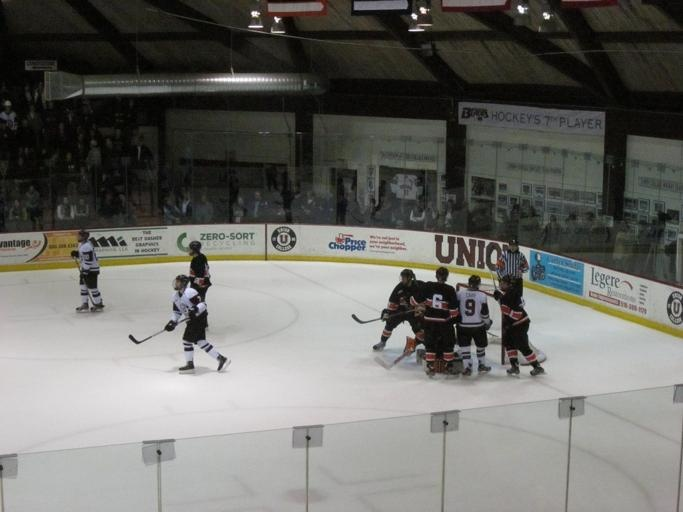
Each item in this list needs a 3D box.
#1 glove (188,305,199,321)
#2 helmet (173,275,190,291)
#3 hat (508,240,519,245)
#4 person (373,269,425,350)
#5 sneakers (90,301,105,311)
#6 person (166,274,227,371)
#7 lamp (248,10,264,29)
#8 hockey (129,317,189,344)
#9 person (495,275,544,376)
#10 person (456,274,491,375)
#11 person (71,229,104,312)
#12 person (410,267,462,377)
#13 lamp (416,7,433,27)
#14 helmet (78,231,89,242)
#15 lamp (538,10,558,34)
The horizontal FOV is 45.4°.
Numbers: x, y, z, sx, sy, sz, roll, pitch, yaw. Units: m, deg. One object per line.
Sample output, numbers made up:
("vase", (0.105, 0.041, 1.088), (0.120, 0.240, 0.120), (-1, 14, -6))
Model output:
("glove", (-2.562, 0.964, 14.134), (0.141, 0.229, 0.039), (-3, 14, -11))
("helmet", (-2.785, 0.452, 14.360), (0.310, 0.326, 0.253), (9, -5, -39))
("hat", (3.417, -0.278, 16.484), (0.136, 0.135, 0.141), (1, 6, 13))
("person", (1.079, 1.093, 16.055), (1.141, 1.817, 0.862), (5, 11, 15))
("sneakers", (-5.299, 1.108, 17.980), (0.110, 0.253, 0.349), (-2, -9, 28))
("person", (-2.573, 1.180, 14.390), (0.926, 1.728, 0.435), (1, 14, 6))
("lamp", (-1.890, -5.135, 18.062), (0.391, 0.437, 0.393), (-7, 10, -34))
("hockey", (-3.588, 1.460, 16.097), (1.389, 0.307, 0.119), (-21, 14, -18))
("person", (3.044, 1.241, 14.167), (0.718, 1.717, 0.537), (3, 14, 13))
("person", (2.292, 1.172, 14.300), (0.555, 1.770, 0.663), (5, 14, 20))
("person", (-5.649, 0.250, 18.186), (0.583, 1.835, 1.148), (-4, 14, -17))
("person", (1.635, 1.125, 14.285), (0.795, 1.878, 0.536), (5, 15, 22))
("lamp", (1.695, -4.845, 16.930), (0.357, 0.428, 0.370), (-1, 2, -2))
("helmet", (-5.541, -0.435, 17.598), (0.183, 0.242, 0.236), (0, -23, -20))
("lamp", (4.240, -4.864, 17.076), (0.273, 0.419, 0.595), (4, 14, 17))
